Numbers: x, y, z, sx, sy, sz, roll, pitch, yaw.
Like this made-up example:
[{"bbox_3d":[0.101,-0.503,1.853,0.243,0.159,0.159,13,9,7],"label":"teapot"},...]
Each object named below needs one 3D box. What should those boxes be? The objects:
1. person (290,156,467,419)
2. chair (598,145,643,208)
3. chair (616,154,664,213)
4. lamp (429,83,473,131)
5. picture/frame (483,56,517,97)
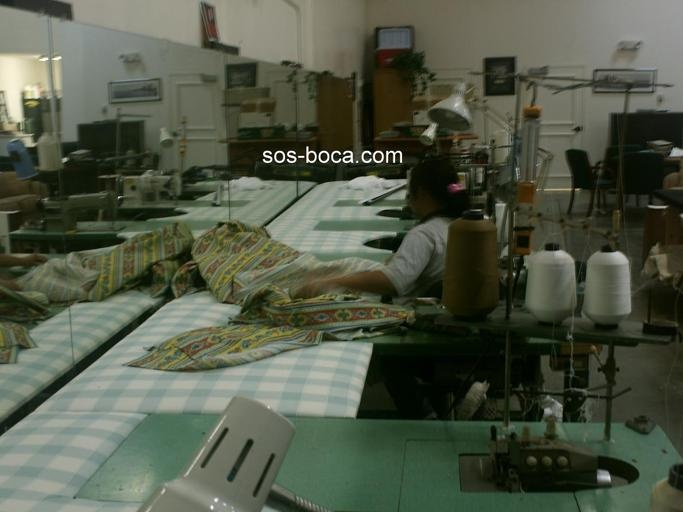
[{"bbox_3d":[0.253,-0.017,2.489,0.796,1.154,0.656,11,14,33],"label":"person"},{"bbox_3d":[2.741,-0.723,5.714,0.398,0.664,0.438,-18,20,-25],"label":"chair"},{"bbox_3d":[2.791,-0.742,5.419,0.329,0.433,0.454,5,16,28],"label":"chair"},{"bbox_3d":[0.407,-0.551,2.074,0.119,0.138,0.120,12,-2,-10],"label":"lamp"},{"bbox_3d":[1.763,-1.991,6.518,0.345,0.480,0.059,3,47,17],"label":"picture/frame"}]
